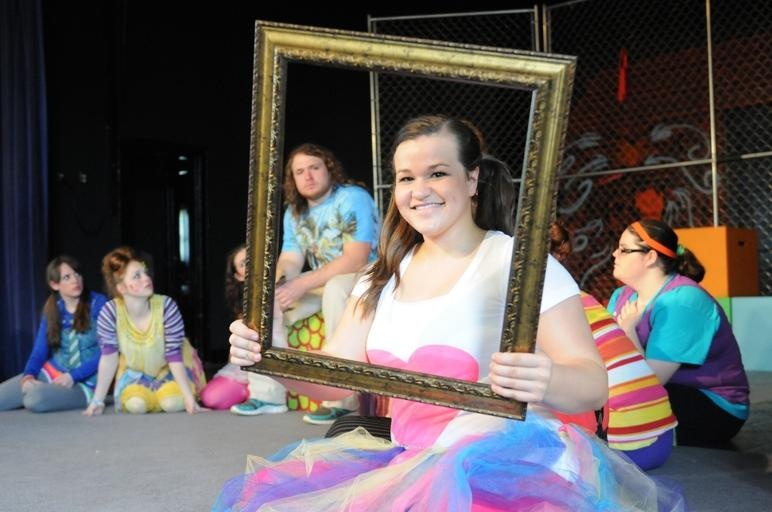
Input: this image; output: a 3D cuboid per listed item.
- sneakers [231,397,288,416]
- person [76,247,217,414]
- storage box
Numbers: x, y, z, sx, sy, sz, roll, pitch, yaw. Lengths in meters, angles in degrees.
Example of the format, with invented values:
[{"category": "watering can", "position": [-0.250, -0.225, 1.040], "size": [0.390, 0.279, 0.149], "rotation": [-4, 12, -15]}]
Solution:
[{"category": "sneakers", "position": [-0.936, 1.135, 5.273], "size": [0.403, 0.153, 0.145], "rotation": [8, -11, -29]}, {"category": "person", "position": [-1.826, 0.571, 5.373], "size": [0.774, 1.222, 0.308], "rotation": [0, 7, 4]}, {"category": "storage box", "position": [2.920, 0.172, 6.378], "size": [0.703, 0.745, 0.757], "rotation": [-6, -7, 39]}]
